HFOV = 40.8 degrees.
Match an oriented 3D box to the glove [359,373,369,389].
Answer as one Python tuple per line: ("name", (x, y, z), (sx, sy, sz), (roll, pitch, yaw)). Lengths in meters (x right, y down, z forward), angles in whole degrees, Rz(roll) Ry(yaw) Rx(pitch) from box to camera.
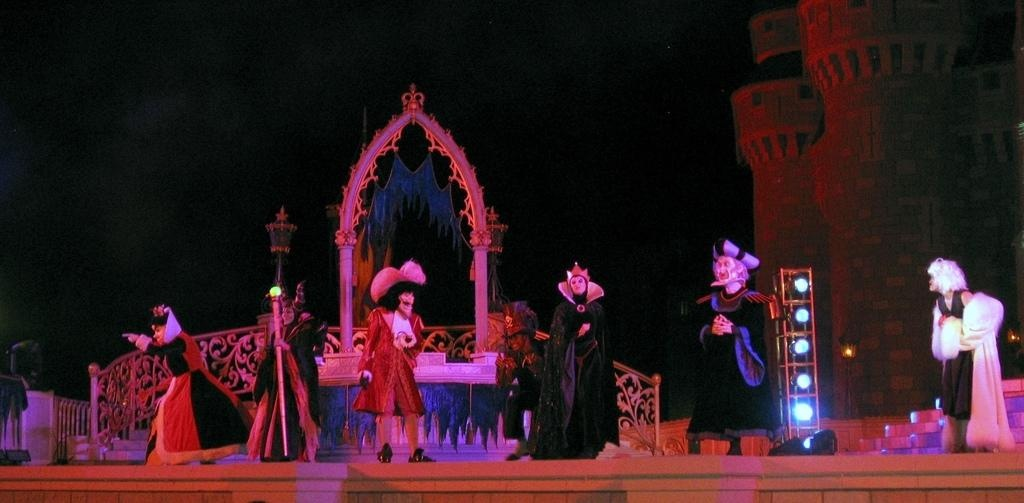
("glove", (-3.318, 2.918, 31.032), (0.234, 0.260, 0.297), (26, -13, -1))

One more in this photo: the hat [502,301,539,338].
("hat", (0.177, 1.582, 31.866), (0.907, 0.807, 0.706), (-5, -8, 16))

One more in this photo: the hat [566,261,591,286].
("hat", (1.483, 0.463, 30.901), (0.490, 0.296, 0.577), (2, -23, 1))

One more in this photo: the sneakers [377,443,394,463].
("sneakers", (-2.834, 4.547, 30.861), (0.248, 0.263, 0.648), (3, -25, -10))
